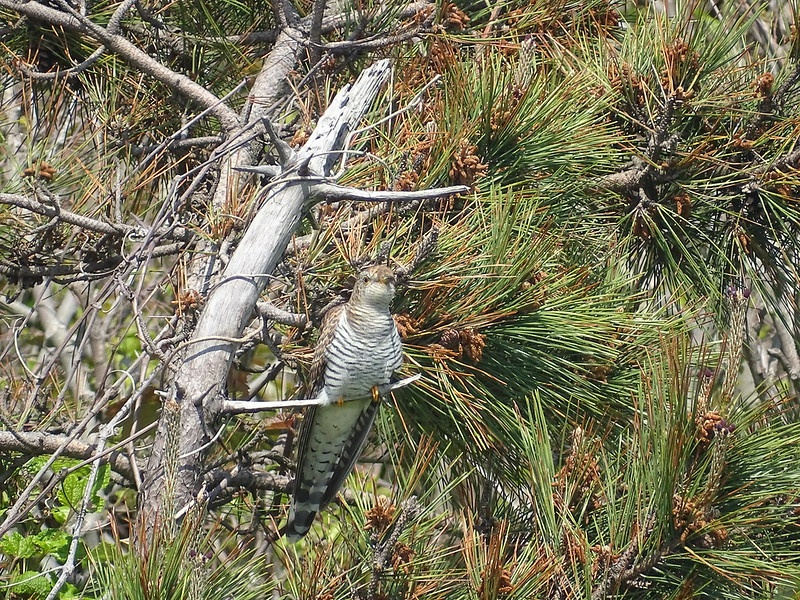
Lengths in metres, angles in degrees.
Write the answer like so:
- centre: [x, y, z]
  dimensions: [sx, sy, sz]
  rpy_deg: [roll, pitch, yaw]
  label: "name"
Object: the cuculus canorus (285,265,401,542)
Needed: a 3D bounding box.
- centre: [-0.205, 0.358, 4.948]
  dimensions: [0.213, 0.352, 0.908]
  rpy_deg: [16, -76, -9]
  label: "cuculus canorus"
